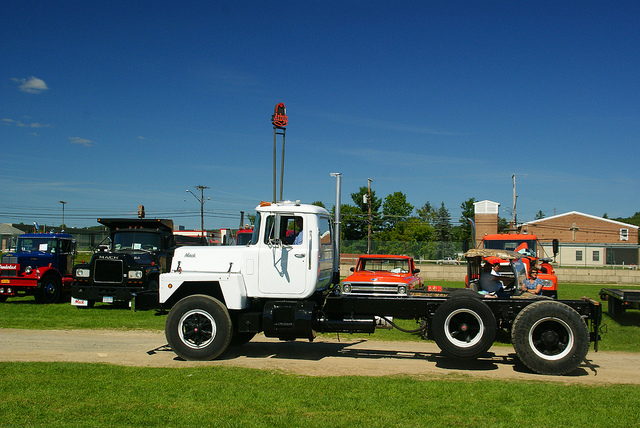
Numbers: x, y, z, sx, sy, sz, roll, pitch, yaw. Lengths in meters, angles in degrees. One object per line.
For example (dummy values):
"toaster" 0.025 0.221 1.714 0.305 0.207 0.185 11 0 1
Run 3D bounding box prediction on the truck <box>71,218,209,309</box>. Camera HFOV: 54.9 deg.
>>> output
"truck" -6.433 1.601 23.826 2.992 2.959 6.665 2 2 9

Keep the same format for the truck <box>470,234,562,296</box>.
"truck" 6.677 1.507 20.503 2.339 1.882 3.259 -2 -6 15

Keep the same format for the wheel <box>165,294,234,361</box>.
"wheel" -2.829 2.683 14.473 1.540 1.514 0.246 2 1 5

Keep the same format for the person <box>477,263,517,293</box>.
"person" 4.325 1.465 14.760 0.814 0.595 0.576 -6 8 33

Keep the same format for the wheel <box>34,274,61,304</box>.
"wheel" -10.165 2.809 22.959 0.386 1.062 1.070 -7 -8 22

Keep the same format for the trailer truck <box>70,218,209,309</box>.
"trailer truck" -6.578 1.696 23.920 2.944 2.978 6.853 4 1 4

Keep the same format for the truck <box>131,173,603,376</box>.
"truck" 1.203 1.208 15.395 10.372 4.390 3.899 0 -2 10
